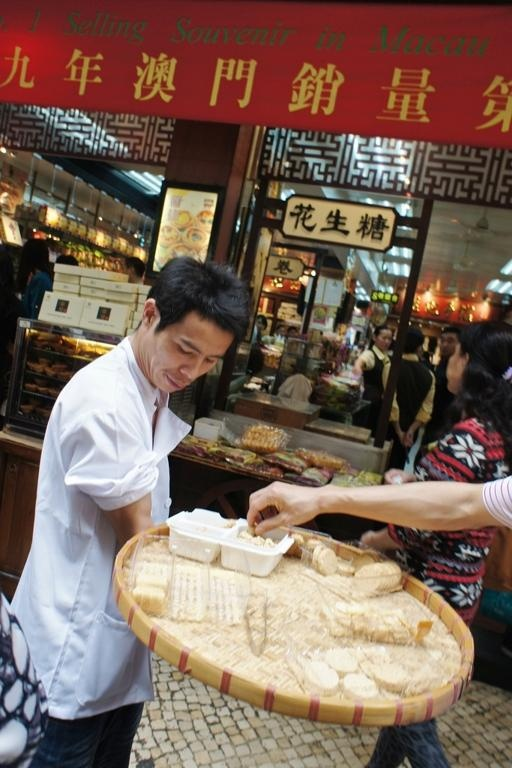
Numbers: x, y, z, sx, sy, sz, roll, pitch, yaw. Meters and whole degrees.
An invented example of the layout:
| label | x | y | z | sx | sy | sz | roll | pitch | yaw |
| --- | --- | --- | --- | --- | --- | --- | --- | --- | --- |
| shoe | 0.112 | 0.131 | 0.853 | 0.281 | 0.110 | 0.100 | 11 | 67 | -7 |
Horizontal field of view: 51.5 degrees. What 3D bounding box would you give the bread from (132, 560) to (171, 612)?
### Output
| label | x | y | z | sx | sy | sz | roll | pitch | yaw |
| --- | --- | --- | --- | --- | --- | --- | --- | --- | --- |
| bread | -0.216 | 0.406 | 1.056 | 0.047 | 0.041 | 0.146 | 6 | 13 | -1 |
